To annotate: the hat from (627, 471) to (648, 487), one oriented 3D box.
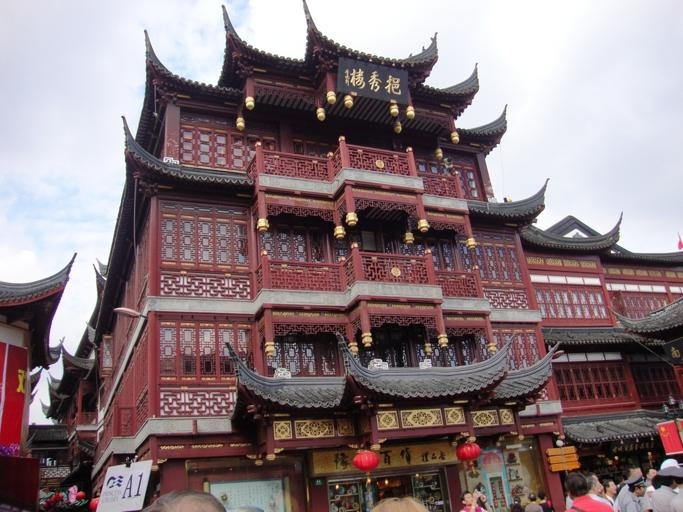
[{"bbox_3d":[5.934,4.515,11.920,0.486,0.186,0.398,-11,-14,17],"label":"hat"}]
